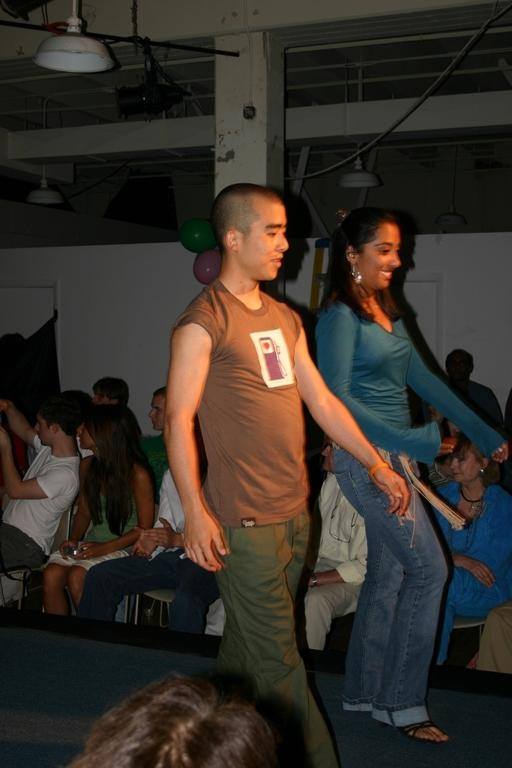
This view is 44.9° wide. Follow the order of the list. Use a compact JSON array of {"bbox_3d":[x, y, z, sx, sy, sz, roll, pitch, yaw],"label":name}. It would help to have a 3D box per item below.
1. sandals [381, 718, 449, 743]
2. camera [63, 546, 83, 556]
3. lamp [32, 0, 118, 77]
[{"bbox_3d":[0.494,1.014,1.853,0.145,0.033,0.064,-2,-2,39],"label":"sandals"},{"bbox_3d":[-0.946,0.865,3.205,0.059,0.034,0.057,1,2,5],"label":"camera"},{"bbox_3d":[-1.015,-1.972,3.475,0.407,0.436,0.290,1,-2,1],"label":"lamp"}]
